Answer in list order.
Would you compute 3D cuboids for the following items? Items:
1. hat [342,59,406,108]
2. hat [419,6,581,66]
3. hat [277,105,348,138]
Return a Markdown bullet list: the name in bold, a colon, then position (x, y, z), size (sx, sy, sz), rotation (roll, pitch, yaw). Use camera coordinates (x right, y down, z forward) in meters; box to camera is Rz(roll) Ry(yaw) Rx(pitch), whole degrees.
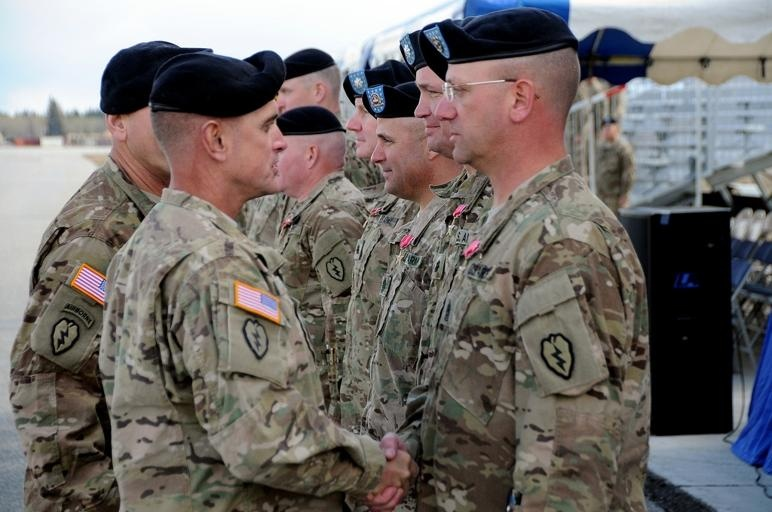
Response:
- **hat**: position (-0.022, -1.365, 6.726), size (0.502, 0.213, 0.353), rotation (-30, 11, -27)
- **hat**: position (0.602, -1.116, 4.551), size (0.501, 0.172, 0.374), rotation (-4, 1, -1)
- **hat**: position (-0.638, -1.051, 7.170), size (0.485, 0.159, 0.352), rotation (0, 3, -19)
